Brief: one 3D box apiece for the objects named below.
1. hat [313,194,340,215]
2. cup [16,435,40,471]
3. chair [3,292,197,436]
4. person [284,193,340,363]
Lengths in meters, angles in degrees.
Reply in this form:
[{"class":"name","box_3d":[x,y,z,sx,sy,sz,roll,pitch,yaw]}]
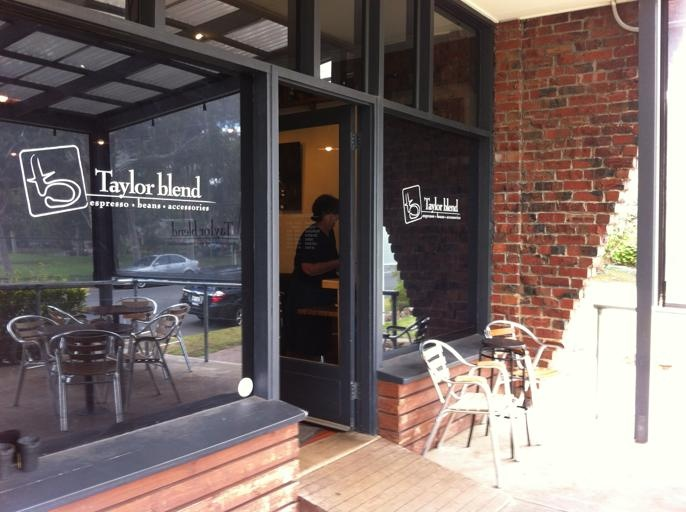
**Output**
[{"class":"hat","box_3d":[-0.125,-0.417,4.800,0.124,0.194,0.317,2,7,-38]},{"class":"cup","box_3d":[-1.392,0.877,2.551,0.085,0.135,0.165,4,7,-29]},{"class":"chair","box_3d":[-1.196,0.476,2.822,0.639,0.354,0.611,-1,5,-22]},{"class":"person","box_3d":[-0.217,0.164,4.754,0.369,1.333,0.627,6,6,-8]}]
